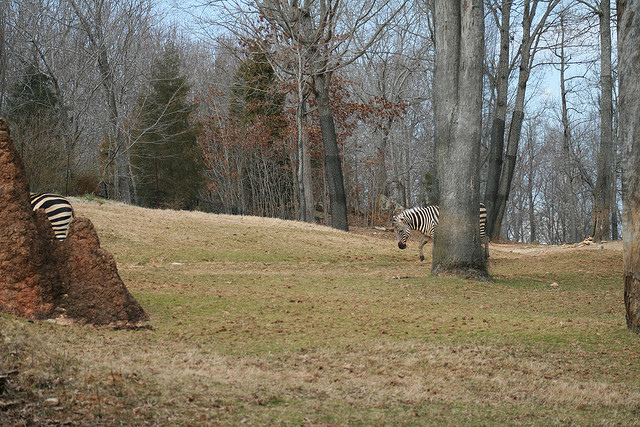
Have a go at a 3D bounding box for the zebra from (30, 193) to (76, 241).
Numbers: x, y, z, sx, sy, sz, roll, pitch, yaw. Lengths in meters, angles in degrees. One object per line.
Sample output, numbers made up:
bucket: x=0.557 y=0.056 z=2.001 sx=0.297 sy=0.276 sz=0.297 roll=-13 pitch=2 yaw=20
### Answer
zebra: x=-9.536 y=0.080 z=30.338 sx=1.267 sy=1.577 sz=1.226 roll=-1 pitch=3 yaw=-42
